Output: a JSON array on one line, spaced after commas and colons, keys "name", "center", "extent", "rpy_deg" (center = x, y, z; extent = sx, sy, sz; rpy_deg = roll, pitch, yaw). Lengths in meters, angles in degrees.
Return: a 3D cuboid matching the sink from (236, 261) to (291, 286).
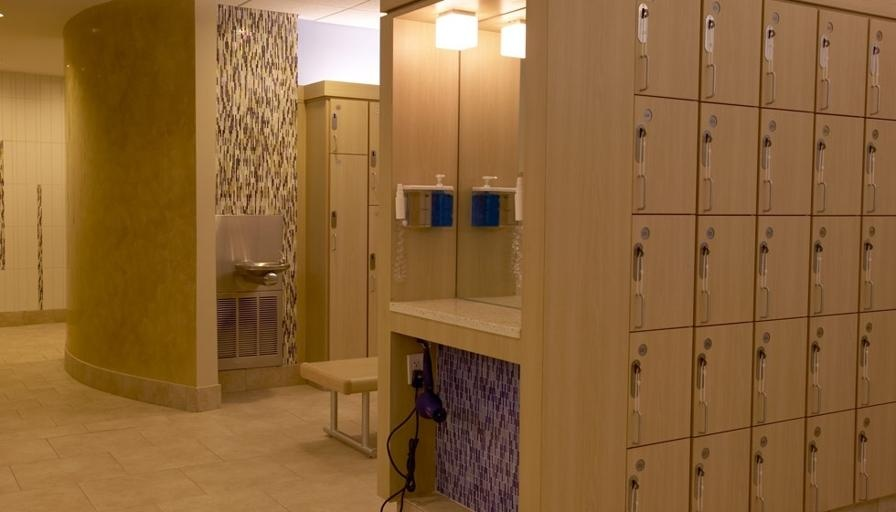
[{"name": "sink", "center": [-1.975, 0.187, 8.093], "extent": [0.525, 0.226, 0.354], "rpy_deg": [-4, 13, -21]}]
